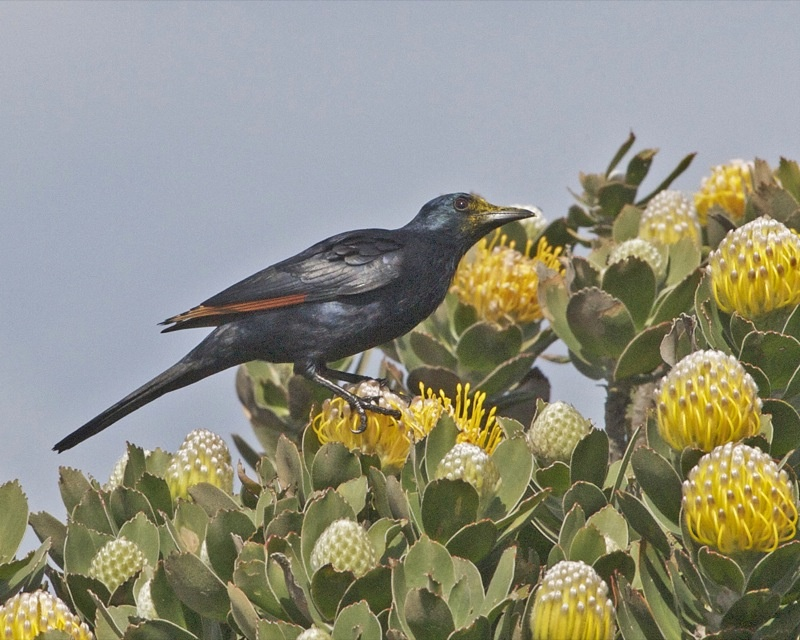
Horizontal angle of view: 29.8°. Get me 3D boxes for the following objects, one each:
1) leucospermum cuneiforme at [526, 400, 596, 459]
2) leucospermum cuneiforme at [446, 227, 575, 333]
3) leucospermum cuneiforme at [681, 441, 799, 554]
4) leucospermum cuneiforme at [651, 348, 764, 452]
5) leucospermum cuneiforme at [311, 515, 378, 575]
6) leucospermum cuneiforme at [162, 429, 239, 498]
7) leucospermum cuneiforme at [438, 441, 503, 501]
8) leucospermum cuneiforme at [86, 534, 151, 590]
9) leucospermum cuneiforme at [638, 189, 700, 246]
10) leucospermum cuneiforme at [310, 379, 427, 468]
[{"bbox_3d":[0.447,0.318,4.228,0.181,0.164,0.094,-14,-37,9],"label":"leucospermum cuneiforme"},{"bbox_3d":[0.355,-0.141,5.213,0.398,0.376,0.398,10,6,-5],"label":"leucospermum cuneiforme"},{"bbox_3d":[0.820,0.422,3.802,0.277,0.291,0.272,-10,17,-9],"label":"leucospermum cuneiforme"},{"bbox_3d":[0.764,0.217,3.894,0.263,0.275,0.258,0,-9,-5],"label":"leucospermum cuneiforme"},{"bbox_3d":[-0.138,0.571,3.757,0.129,0.149,0.149,0,8,-7],"label":"leucospermum cuneiforme"},{"bbox_3d":[-0.576,0.420,4.308,0.193,0.200,0.095,-1,-37,-9],"label":"leucospermum cuneiforme"},{"bbox_3d":[0.183,0.390,3.902,0.129,0.148,0.152,-1,-9,18],"label":"leucospermum cuneiforme"},{"bbox_3d":[-0.771,0.656,4.080,0.137,0.163,0.156,12,7,44],"label":"leucospermum cuneiforme"},{"bbox_3d":[0.901,-0.325,4.945,0.216,0.201,0.113,2,-37,-13],"label":"leucospermum cuneiforme"},{"bbox_3d":[-0.098,0.305,4.314,0.250,0.250,0.248,5,2,-25],"label":"leucospermum cuneiforme"}]
